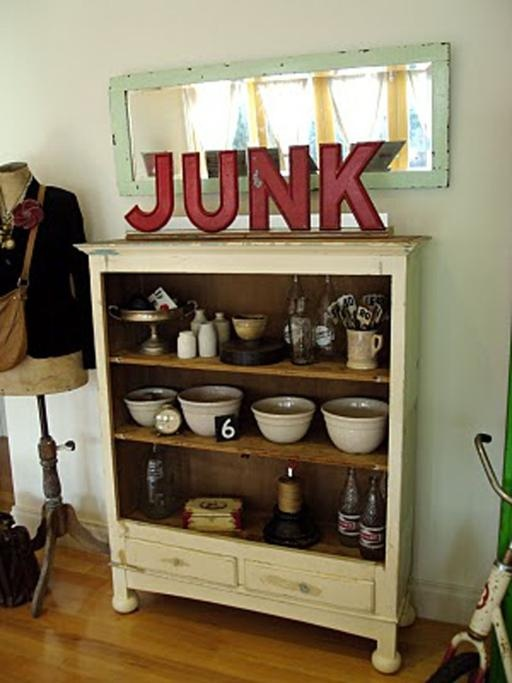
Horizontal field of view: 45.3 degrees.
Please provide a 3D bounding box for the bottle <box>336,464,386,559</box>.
[{"bbox_3d":[0.350,0.565,2.052,0.152,0.271,0.271,0,9,9],"label":"bottle"}]

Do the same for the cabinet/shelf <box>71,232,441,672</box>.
[{"bbox_3d":[-0.022,0.373,2.178,1.158,1.362,0.382,3,12,23],"label":"cabinet/shelf"}]

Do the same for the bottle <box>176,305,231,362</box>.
[{"bbox_3d":[-0.190,-0.010,2.200,0.130,0.205,0.218,2,3,31],"label":"bottle"}]

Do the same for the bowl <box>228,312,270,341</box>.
[{"bbox_3d":[-0.030,-0.052,2.136,0.096,0.068,0.095,-2,-1,0],"label":"bowl"}]

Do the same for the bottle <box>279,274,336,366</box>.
[{"bbox_3d":[0.181,-0.081,2.107,0.173,0.279,0.259,-1,9,4],"label":"bottle"}]

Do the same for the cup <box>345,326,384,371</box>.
[{"bbox_3d":[0.334,0.023,1.911,0.105,0.125,0.125,-1,9,6],"label":"cup"}]
